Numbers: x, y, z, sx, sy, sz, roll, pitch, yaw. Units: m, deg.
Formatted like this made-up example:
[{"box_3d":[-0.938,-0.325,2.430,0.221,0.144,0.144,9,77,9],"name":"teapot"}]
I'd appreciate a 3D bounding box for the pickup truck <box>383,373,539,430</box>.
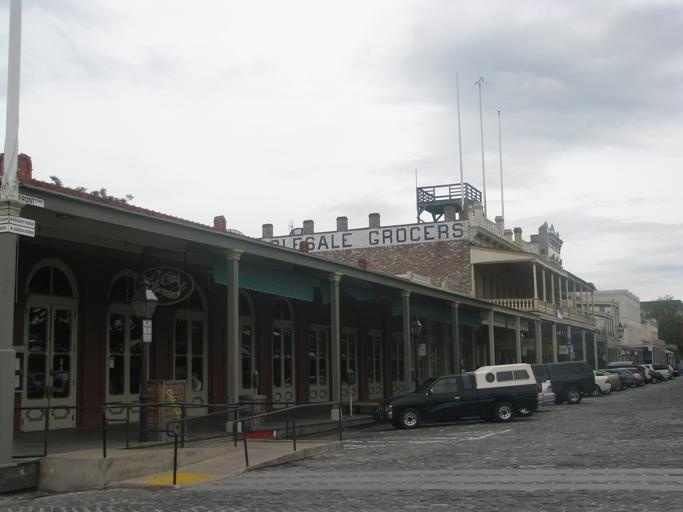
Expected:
[{"box_3d":[3.979,4.852,24.487,4.524,1.756,2.183,3,-10,-14],"name":"pickup truck"}]
